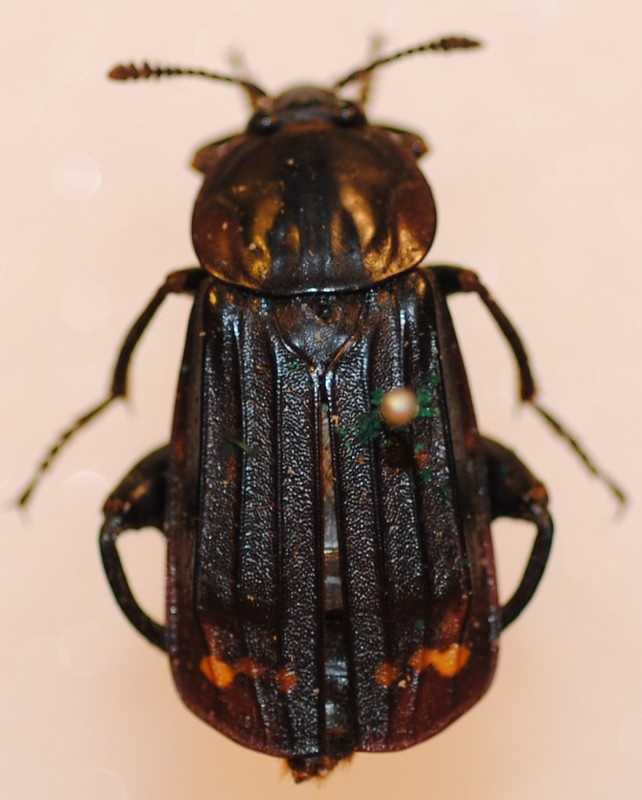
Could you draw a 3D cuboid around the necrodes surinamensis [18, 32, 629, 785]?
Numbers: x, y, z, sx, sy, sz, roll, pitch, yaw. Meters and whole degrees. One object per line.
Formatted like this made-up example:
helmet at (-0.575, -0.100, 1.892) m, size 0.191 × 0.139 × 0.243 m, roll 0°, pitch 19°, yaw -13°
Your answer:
necrodes surinamensis at (0.153, 0.005, 2.583) m, size 1.773 × 2.104 × 0.665 m, roll 1°, pitch 11°, yaw 2°
